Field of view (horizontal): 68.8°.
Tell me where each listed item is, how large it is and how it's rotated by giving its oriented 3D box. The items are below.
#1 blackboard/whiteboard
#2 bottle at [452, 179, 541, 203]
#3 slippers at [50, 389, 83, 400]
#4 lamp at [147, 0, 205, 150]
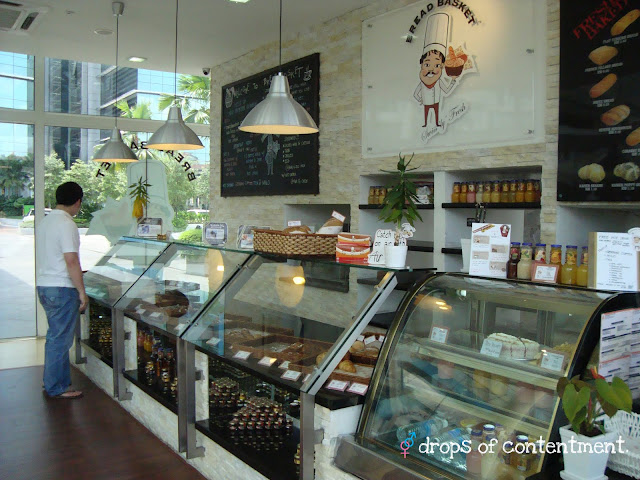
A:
[{"bbox_3d":[-0.505,-1.243,5.047,0.082,1.411,1.975,0,-1,-36],"label":"blackboard/whiteboard"},{"bbox_3d":[1.340,-0.375,3.637,0.695,0.174,0.153,2,6,41],"label":"bottle"},{"bbox_3d":[-2.277,1.389,4.212,0.197,0.056,0.100,0,1,-11],"label":"slippers"},{"bbox_3d":[-1.468,-1.556,4.697,0.440,1.449,2.068,-3,5,-15],"label":"lamp"}]
